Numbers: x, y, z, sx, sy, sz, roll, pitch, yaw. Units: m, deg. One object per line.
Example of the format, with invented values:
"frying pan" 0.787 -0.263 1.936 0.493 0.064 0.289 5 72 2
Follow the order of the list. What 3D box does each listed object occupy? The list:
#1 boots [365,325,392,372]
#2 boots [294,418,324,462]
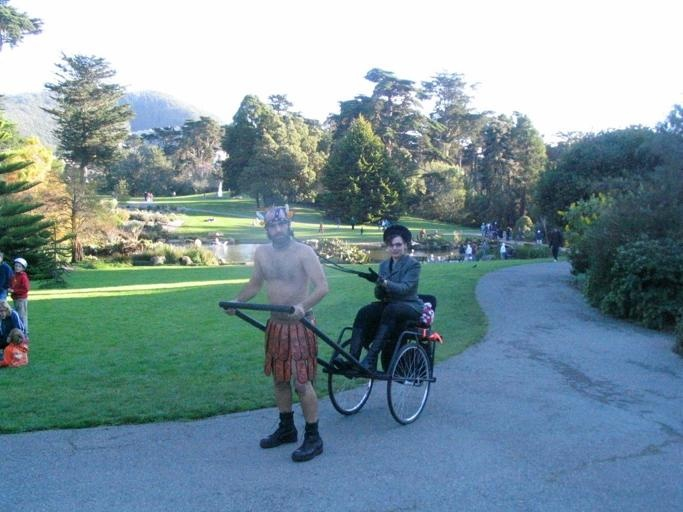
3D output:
"boots" 0.527 1.285 8.251 0.189 0.598 0.397 20 18 29
"boots" -0.423 2.331 7.403 0.233 0.418 0.530 -4 -5 34
